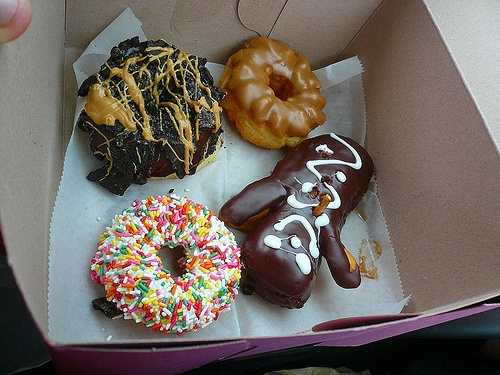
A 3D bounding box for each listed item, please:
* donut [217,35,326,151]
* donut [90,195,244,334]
[{"bbox_3d":[0.076,-0.386,2.064,0.440,0.196,0.494,0,67,-30],"label":"donut"},{"bbox_3d":[-0.281,0.255,1.670,0.516,0.139,0.462,20,73,-2],"label":"donut"}]
